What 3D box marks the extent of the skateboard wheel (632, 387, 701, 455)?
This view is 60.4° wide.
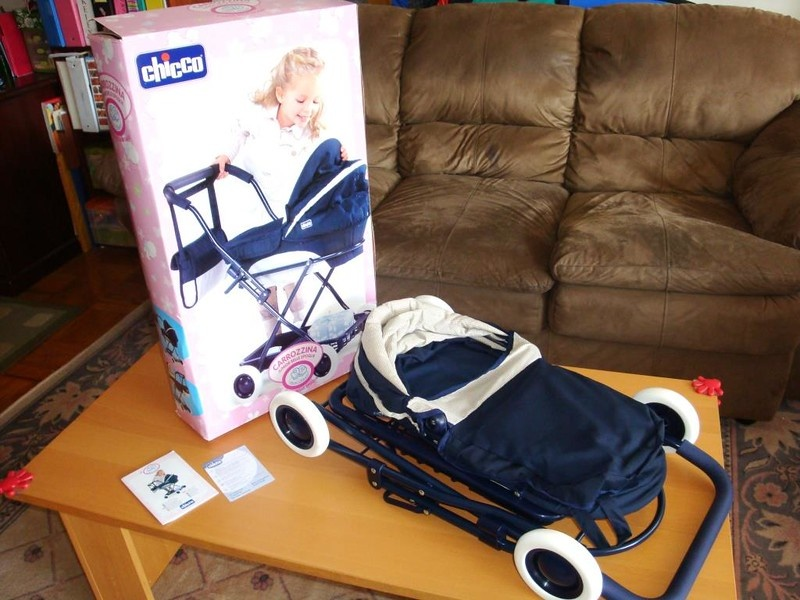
[{"bbox_3d":[0.639,0.263,1.607,0.146,0.147,0.050,15,9,20],"label":"skateboard wheel"}]

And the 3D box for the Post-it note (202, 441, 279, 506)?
[{"bbox_3d":[-0.371,0.395,1.585,0.145,0.157,0.014,-8,31,-8],"label":"Post-it note"}]
